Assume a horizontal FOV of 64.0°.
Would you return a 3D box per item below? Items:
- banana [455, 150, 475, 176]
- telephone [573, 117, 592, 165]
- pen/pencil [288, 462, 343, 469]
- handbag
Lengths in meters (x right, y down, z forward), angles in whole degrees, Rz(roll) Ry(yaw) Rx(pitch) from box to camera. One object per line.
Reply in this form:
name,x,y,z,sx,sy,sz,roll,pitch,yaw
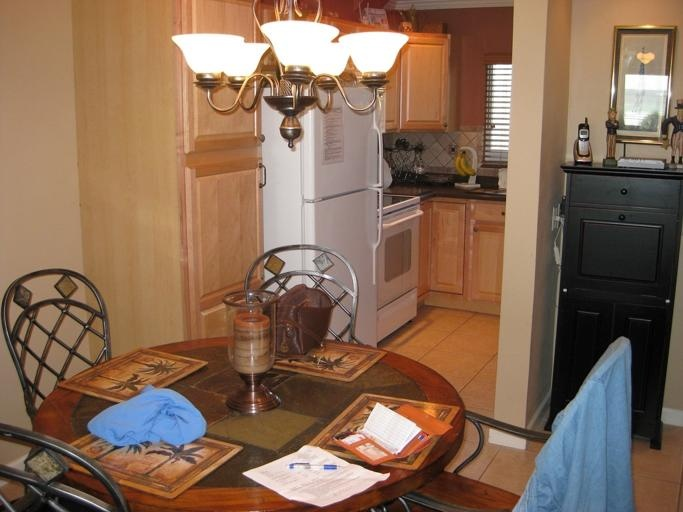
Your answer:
banana,1.342,-0.998,5.881,0.213,0.266,0.211,4,17,11
telephone,1.547,-0.741,3.489,0.123,0.279,0.118,2,18,21
pen/pencil,-0.079,0.626,1.625,0.147,0.006,0.029,1,16,4
handbag,-0.183,0.278,2.419,0.310,0.282,0.233,-3,4,-31
